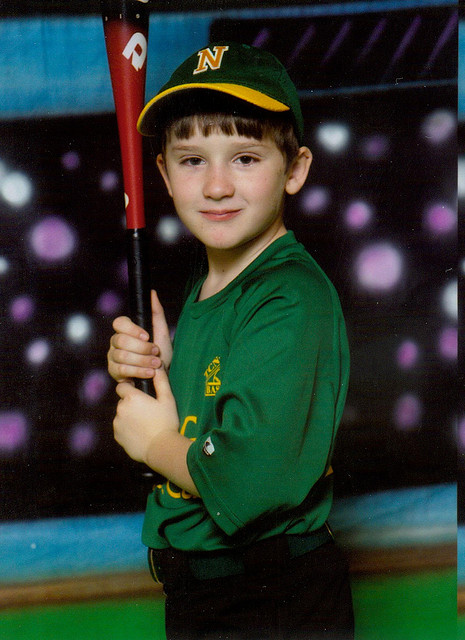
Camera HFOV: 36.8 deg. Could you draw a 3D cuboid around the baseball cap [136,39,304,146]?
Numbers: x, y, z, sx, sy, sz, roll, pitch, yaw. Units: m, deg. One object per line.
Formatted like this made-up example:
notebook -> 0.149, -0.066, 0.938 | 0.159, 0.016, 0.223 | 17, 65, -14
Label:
baseball cap -> -0.002, -0.327, 0.939 | 0.200, 0.105, 0.227 | 5, 9, 11
